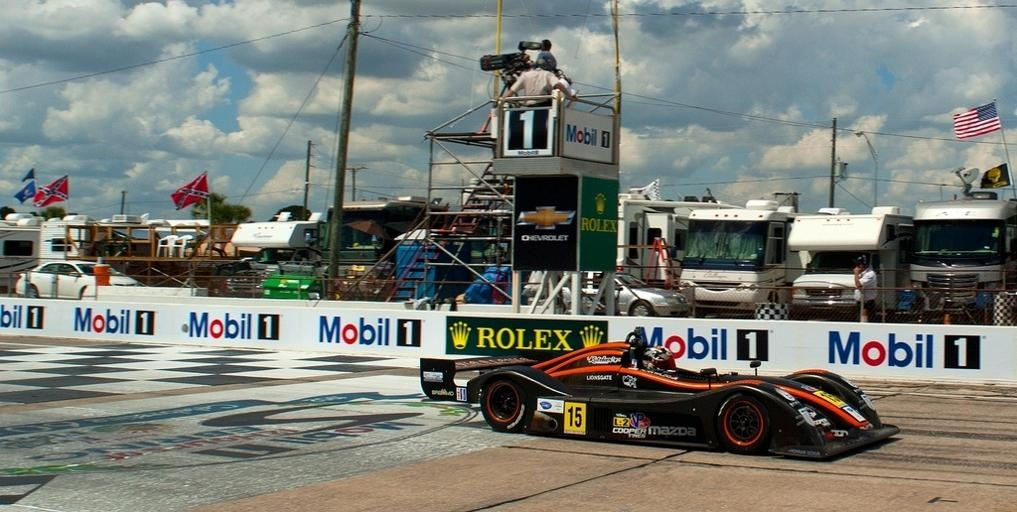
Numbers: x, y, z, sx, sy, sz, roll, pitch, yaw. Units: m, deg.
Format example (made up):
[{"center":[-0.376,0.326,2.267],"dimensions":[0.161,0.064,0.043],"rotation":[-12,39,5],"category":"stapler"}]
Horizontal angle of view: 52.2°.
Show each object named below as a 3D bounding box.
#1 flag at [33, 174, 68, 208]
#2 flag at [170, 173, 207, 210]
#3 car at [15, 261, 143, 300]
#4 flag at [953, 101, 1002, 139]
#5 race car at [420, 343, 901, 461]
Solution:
[{"center":[-25.550,-3.581,58.245],"dimensions":[2.744,1.848,0.299],"rotation":[3,4,25],"category":"flag"},{"center":[-17.480,-3.576,57.506],"dimensions":[1.500,1.818,2.643],"rotation":[2,-4,-24],"category":"flag"},{"center":[-19.065,0.951,42.895],"dimensions":[6.394,1.466,2.272],"rotation":[0,-1,10],"category":"car"},{"center":[19.380,-5.588,42.895],"dimensions":[2.284,1.293,0.190],"rotation":[-17,14,-17],"category":"flag"},{"center":[3.539,3.381,23.390],"dimensions":[12.434,2.310,4.242],"rotation":[0,0,18],"category":"race car"}]
